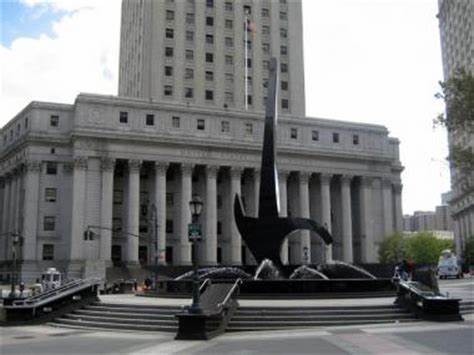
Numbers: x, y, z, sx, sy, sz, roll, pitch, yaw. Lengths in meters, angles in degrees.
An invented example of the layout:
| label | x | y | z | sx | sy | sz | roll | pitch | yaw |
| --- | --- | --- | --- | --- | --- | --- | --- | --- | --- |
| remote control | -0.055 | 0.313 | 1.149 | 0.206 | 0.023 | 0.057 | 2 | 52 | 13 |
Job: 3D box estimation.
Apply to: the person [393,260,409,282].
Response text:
| label | x | y | z | sx | sy | sz | roll | pitch | yaw |
| --- | --- | --- | --- | --- | --- | --- | --- | --- | --- |
| person | 11.536 | 6.531 | 43.445 | 1.171 | 1.576 | 1.622 | 3 | -5 | 7 |

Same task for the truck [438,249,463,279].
| label | x | y | z | sx | sy | sz | roll | pitch | yaw |
| --- | --- | --- | --- | --- | --- | --- | --- | --- | --- |
| truck | 27.003 | 10.989 | 77.130 | 2.627 | 3.759 | 7.150 | -3 | -6 | 23 |
